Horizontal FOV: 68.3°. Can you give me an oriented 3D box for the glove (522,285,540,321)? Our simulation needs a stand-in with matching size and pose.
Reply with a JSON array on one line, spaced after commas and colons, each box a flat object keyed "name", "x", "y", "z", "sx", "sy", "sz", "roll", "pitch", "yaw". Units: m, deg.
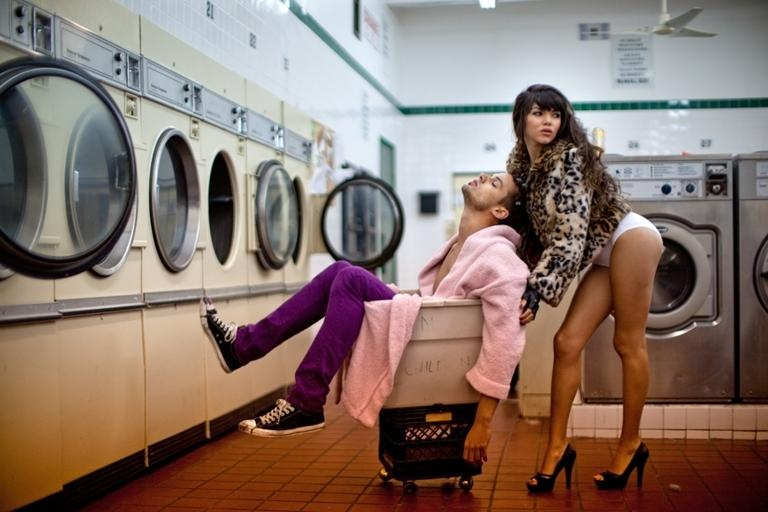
[{"name": "glove", "x": 0.617, "y": 0.188, "z": 2.366, "sx": 0.072, "sy": 0.048, "sz": 0.207, "roll": 15, "pitch": 50, "yaw": -1}]

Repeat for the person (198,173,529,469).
[{"name": "person", "x": 0.058, "y": 0.290, "z": 3.039, "sx": 1.556, "sy": 1.471, "sz": 0.976, "roll": 5, "pitch": -5, "yaw": 2}]

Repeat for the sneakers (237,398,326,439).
[{"name": "sneakers", "x": -0.432, "y": 0.682, "z": 2.434, "sx": 0.361, "sy": 0.156, "sz": 0.151, "roll": 2, "pitch": -7, "yaw": -6}]

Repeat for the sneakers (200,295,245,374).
[{"name": "sneakers", "x": -0.710, "y": 0.347, "z": 2.547, "sx": 0.173, "sy": 0.413, "sz": 0.122, "roll": -14, "pitch": 5, "yaw": 1}]
